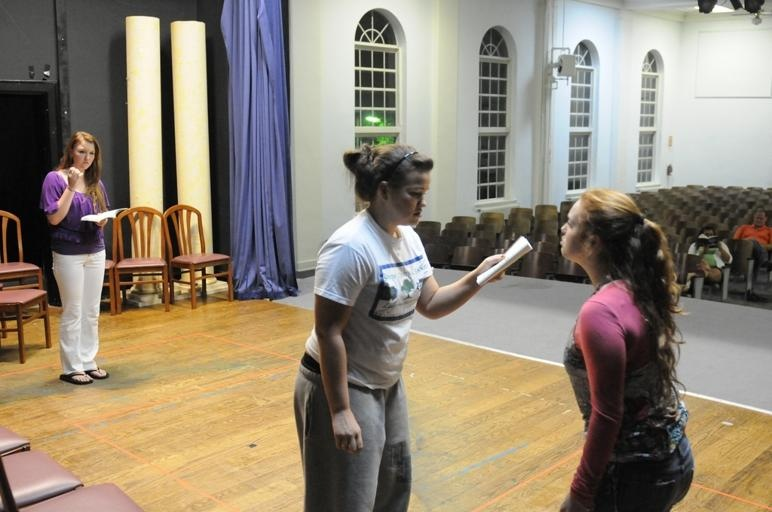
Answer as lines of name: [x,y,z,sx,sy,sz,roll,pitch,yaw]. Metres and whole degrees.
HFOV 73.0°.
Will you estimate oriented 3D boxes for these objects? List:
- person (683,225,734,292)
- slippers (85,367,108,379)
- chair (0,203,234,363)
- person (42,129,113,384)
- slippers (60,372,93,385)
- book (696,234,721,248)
person: [4.165,0.076,6.799,0.705,0.935,0.471,-1,-7,-38]
slippers: [-2.476,1.000,4.474,0.157,0.062,0.085,-1,8,12]
chair: [-2.959,0.302,5.621,1.557,0.980,0.504,-5,7,-40]
person: [-2.555,0.031,4.335,0.496,2.077,0.461,-6,11,-26]
slippers: [-2.607,1.008,4.398,0.199,0.065,0.108,1,3,28]
book: [4.226,-0.208,6.913,0.170,0.102,0.231,-2,-2,4]
